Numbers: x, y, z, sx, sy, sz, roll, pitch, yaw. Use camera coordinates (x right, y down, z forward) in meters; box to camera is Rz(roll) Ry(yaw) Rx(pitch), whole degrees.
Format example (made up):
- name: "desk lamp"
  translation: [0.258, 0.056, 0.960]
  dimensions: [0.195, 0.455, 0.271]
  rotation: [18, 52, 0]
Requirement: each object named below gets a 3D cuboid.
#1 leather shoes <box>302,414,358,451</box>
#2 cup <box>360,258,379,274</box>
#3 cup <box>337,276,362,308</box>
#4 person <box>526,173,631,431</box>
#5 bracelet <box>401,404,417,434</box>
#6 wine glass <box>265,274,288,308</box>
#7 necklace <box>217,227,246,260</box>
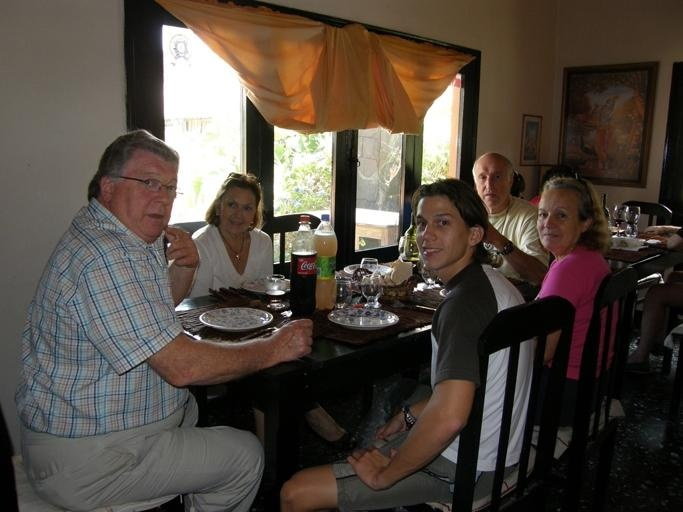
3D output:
- name: "leather shoes"
  translation: [-0.070, 0.931, 2.681]
  dimensions: [0.079, 0.216, 0.167]
  rotation: [-47, -2, -28]
- name: "cup"
  translation: [0.144, 0.046, 2.502]
  dimensions: [0.071, 0.069, 0.072]
  rotation: [1, 7, 0]
- name: "cup"
  translation: [0.027, 0.165, 2.214]
  dimensions: [0.109, 0.116, 0.120]
  rotation: [-2, 2, -24]
- name: "person"
  translation: [0.929, 0.154, 2.019]
  dimensions: [0.350, 0.881, 0.869]
  rotation: [7, 14, 21]
- name: "bracelet"
  translation: [0.224, 0.548, 1.697]
  dimensions: [0.044, 0.046, 0.119]
  rotation: [-6, 8, -18]
- name: "wine glass"
  translation: [-0.293, 0.160, 2.268]
  dimensions: [0.107, 0.087, 0.118]
  rotation: [2, 13, -1]
- name: "necklace"
  translation: [-0.593, -0.067, 2.756]
  dimensions: [0.126, 0.170, 0.041]
  rotation: [-22, -2, -33]
